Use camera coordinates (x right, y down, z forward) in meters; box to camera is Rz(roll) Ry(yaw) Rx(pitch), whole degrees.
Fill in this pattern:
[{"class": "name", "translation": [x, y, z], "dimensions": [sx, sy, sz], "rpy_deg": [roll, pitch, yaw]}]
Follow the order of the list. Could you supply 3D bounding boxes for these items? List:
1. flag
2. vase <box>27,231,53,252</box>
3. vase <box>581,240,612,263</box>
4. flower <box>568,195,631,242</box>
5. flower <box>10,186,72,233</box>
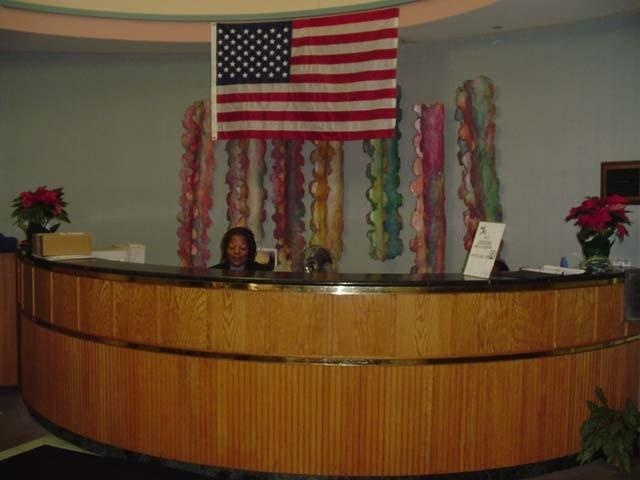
[{"class": "flag", "translation": [-0.136, -1.541, 6.108], "dimensions": [1.443, 1.039, 0.068], "rpy_deg": [1, 7, 10]}, {"class": "vase", "translation": [-2.236, 0.019, 5.278], "dimensions": [0.159, 0.224, 0.297], "rpy_deg": [1, -1, -26]}, {"class": "vase", "translation": [2.066, 0.088, 4.948], "dimensions": [0.171, 0.134, 0.164], "rpy_deg": [3, -4, -6]}, {"class": "flower", "translation": [2.085, -0.211, 4.972], "dimensions": [0.423, 0.299, 0.433], "rpy_deg": [-1, 11, 31]}, {"class": "flower", "translation": [-2.402, -0.261, 5.870], "dimensions": [0.609, 0.557, 0.620], "rpy_deg": [1, 4, -29]}]
